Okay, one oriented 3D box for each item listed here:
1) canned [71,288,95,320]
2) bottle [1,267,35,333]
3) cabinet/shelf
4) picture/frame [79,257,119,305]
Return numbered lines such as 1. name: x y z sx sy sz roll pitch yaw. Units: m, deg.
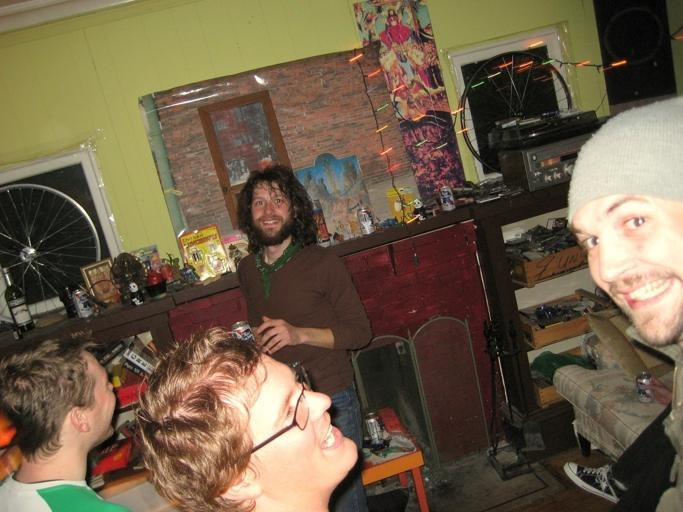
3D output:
1. canned: -1.988 0.368 4.233 0.128 0.149 0.164 -18 13 -22
2. bottle: -2.607 0.354 4.420 0.149 0.489 0.168 -14 7 -5
3. cabinet/shelf: 1.654 0.442 4.670 1.248 2.483 0.808 -15 7 -7
4. picture/frame: -1.933 0.212 4.413 0.277 0.369 0.035 -21 -2 -15
